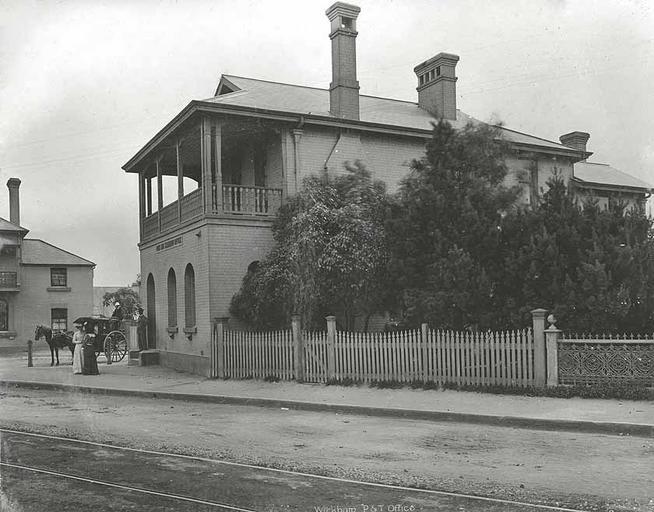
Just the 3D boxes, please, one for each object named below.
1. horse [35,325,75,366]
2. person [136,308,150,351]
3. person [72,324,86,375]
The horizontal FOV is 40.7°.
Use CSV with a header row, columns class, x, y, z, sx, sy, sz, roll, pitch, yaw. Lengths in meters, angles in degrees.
class,x,y,z,sx,sy,sz,roll,pitch,yaw
horse,-9.541,3.141,31.769,1.941,1.315,0.544,0,3,20
person,-6.255,2.432,30.055,0.325,1.464,0.911,0,-8,-12
person,-7.233,2.679,25.834,0.303,1.524,1.274,1,-8,-17
